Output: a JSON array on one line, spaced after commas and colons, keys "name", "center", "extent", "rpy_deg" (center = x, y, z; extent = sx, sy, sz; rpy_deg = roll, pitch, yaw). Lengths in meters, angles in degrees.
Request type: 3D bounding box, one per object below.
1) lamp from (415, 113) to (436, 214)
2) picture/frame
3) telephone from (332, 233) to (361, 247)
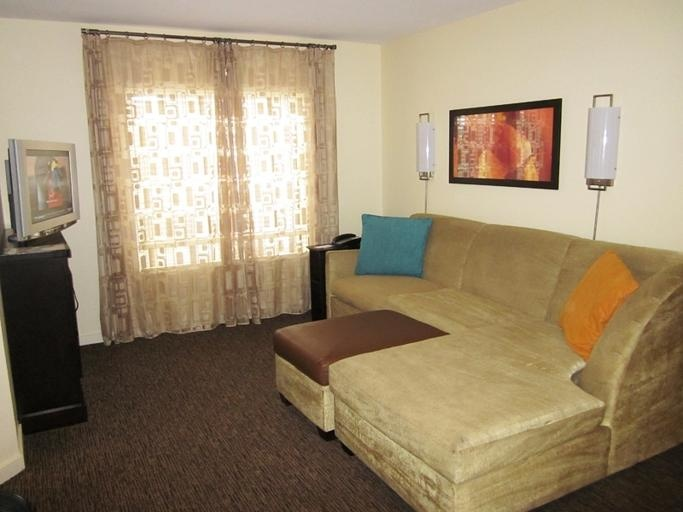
[{"name": "lamp", "center": [0.848, -0.910, 5.333], "extent": [0.185, 0.982, 0.374], "rpy_deg": [0, 14, 8]}, {"name": "picture/frame", "center": [1.447, -0.964, 4.603], "extent": [0.022, 0.613, 0.899], "rpy_deg": [-5, 7, -38]}, {"name": "telephone", "center": [0.050, -0.160, 5.360], "extent": [0.165, 0.074, 0.182], "rpy_deg": [-5, 9, -21]}]
